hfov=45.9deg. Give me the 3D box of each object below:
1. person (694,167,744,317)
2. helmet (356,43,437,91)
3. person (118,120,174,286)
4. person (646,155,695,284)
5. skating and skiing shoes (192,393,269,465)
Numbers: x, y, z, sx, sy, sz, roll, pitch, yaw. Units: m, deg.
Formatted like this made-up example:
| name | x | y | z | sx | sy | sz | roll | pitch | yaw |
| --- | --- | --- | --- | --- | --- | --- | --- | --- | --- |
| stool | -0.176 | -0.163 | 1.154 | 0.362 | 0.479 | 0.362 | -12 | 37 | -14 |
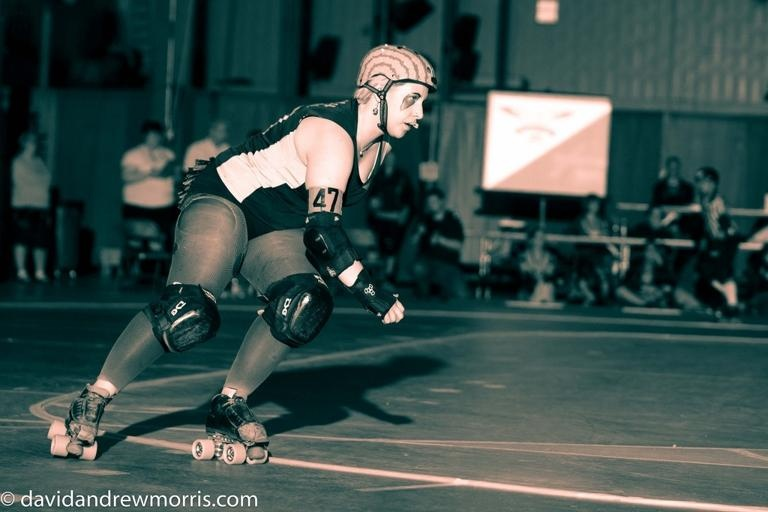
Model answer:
| name | x | y | z | sx | sy | sz | roll | pitch | yaw |
| --- | --- | --- | --- | --- | --- | --- | --- | --- | --- |
| person | 4.265 | -0.168 | 11.621 | 0.589 | 1.868 | 0.470 | 3 | 4 | 23 |
| helmet | 0.082 | -1.037 | 5.091 | 0.478 | 0.259 | 0.379 | 11 | 16 | 19 |
| person | -3.294 | -0.718 | 12.568 | 0.722 | 2.454 | 0.626 | 15 | -25 | -22 |
| person | 3.821 | -0.480 | 12.085 | 0.577 | 1.686 | 0.929 | 3 | 4 | 19 |
| skating and skiing shoes | -0.834 | 0.967 | 4.990 | 0.255 | 0.287 | 0.500 | 3 | -2 | -36 |
